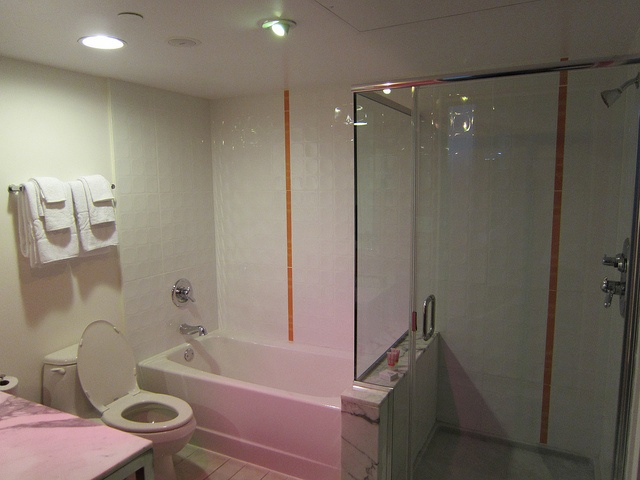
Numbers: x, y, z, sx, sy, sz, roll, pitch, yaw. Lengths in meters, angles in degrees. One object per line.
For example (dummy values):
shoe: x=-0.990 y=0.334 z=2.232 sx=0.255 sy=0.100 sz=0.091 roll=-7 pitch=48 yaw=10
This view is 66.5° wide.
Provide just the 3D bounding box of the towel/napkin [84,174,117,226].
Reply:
towel/napkin: x=-1.572 y=-0.275 z=3.470 sx=0.199 sy=0.385 sz=0.319 roll=-8 pitch=0 yaw=-43

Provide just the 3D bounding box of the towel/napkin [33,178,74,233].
towel/napkin: x=-1.782 y=-0.256 z=3.309 sx=0.190 sy=0.364 sz=0.227 roll=-4 pitch=18 yaw=-19

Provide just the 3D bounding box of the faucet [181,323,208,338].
faucet: x=-1.116 y=0.785 z=4.261 sx=0.143 sy=0.059 sz=0.115 roll=7 pitch=3 yaw=-21

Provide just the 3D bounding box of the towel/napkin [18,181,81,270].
towel/napkin: x=-1.798 y=-0.125 z=3.227 sx=0.340 sy=0.571 sz=0.155 roll=-8 pitch=11 yaw=-28
